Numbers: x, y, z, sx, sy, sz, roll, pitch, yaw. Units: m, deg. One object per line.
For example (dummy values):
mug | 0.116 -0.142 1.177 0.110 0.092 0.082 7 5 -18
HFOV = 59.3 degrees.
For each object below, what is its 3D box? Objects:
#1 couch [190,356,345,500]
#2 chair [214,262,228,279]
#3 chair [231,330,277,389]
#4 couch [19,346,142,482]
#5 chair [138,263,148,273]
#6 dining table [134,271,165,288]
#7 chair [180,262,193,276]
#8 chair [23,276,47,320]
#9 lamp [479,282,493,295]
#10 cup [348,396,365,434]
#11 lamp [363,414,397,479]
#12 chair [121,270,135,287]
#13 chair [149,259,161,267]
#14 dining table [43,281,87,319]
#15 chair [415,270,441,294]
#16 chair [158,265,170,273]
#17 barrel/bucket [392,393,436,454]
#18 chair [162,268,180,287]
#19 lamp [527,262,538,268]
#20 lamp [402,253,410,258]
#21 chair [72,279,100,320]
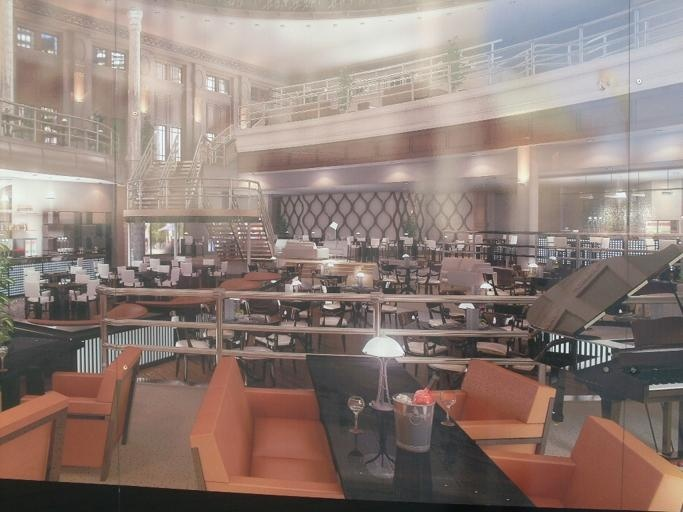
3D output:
couch | -0.592 1.617 5.050 1.215 0.961 1.285 8 20 -7
chair | -2.695 0.304 13.232 0.332 0.411 0.289 3 2 19
chair | -1.013 1.223 7.152 0.532 0.840 0.612 1 3 10
couch | -2.213 1.454 5.912 1.206 1.307 0.954 3 2 0
chair | -4.044 0.241 12.110 0.186 0.243 0.251 0 6 -5
dining table | -3.794 0.467 11.873 0.538 0.283 0.614 0 0 -21
chair | -3.144 0.295 12.137 0.226 0.322 0.267 4 16 0
chair | -4.804 0.720 9.423 0.460 0.584 0.458 0 -7 -10
lamp | 2.438 0.559 10.072 0.260 0.259 0.257 0 -1 -18
cup | 0.120 1.288 4.877 0.211 0.261 0.213 2 -11 0
lamp | 0.327 1.524 4.750 0.283 0.357 0.292 2 -1 -8
chair | -4.007 0.430 11.281 0.247 0.353 0.298 2 12 -4
chair | -3.972 0.153 12.689 0.248 0.218 0.246 3 3 4
dining table | -4.409 0.723 9.578 0.628 0.614 0.625 -1 -2 5
chair | 1.714 0.527 11.890 0.433 0.479 1.994 0 0 8
chair | -3.608 0.274 12.177 0.176 0.138 0.176 -1 7 -16
barrel/bucket | 0.587 1.355 4.751 0.346 0.334 0.371 5 -14 1
chair | -3.373 0.434 11.994 0.350 0.421 0.311 2 0 6
lamp | 3.647 0.183 11.401 0.179 0.088 0.178 -1 0 -10
lamp | 1.551 -0.012 14.428 0.154 0.113 0.152 -2 4 -21
chair | -4.325 0.742 9.958 0.452 0.653 0.437 3 3 -3
